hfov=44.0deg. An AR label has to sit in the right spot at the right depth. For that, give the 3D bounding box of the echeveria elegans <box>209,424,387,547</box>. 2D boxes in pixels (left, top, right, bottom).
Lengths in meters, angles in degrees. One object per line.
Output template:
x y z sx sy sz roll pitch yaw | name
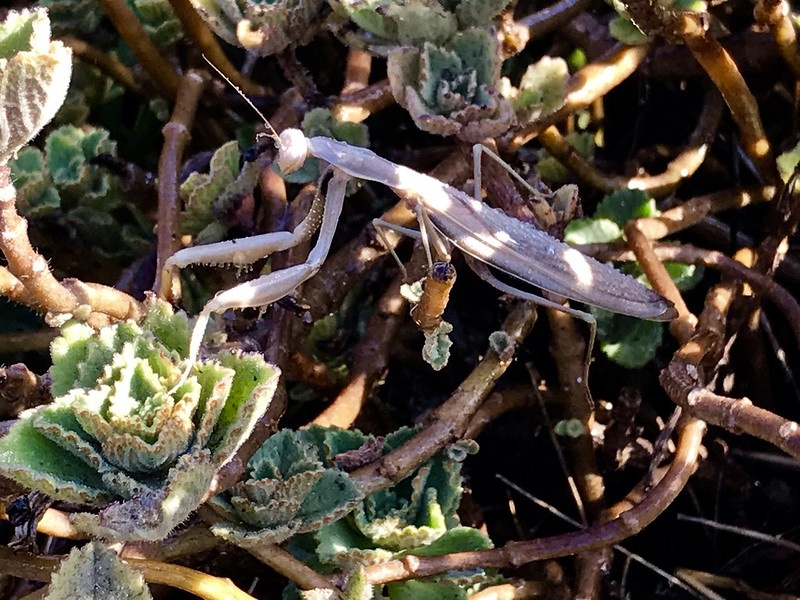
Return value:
-0.159 0.235 1.522 0.253 0.192 0.184 1 5 35 | echeveria elegans

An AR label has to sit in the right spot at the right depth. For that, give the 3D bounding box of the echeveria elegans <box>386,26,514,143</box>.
0.085 -0.332 1.560 0.181 0.176 0.131 -28 41 1 | echeveria elegans
